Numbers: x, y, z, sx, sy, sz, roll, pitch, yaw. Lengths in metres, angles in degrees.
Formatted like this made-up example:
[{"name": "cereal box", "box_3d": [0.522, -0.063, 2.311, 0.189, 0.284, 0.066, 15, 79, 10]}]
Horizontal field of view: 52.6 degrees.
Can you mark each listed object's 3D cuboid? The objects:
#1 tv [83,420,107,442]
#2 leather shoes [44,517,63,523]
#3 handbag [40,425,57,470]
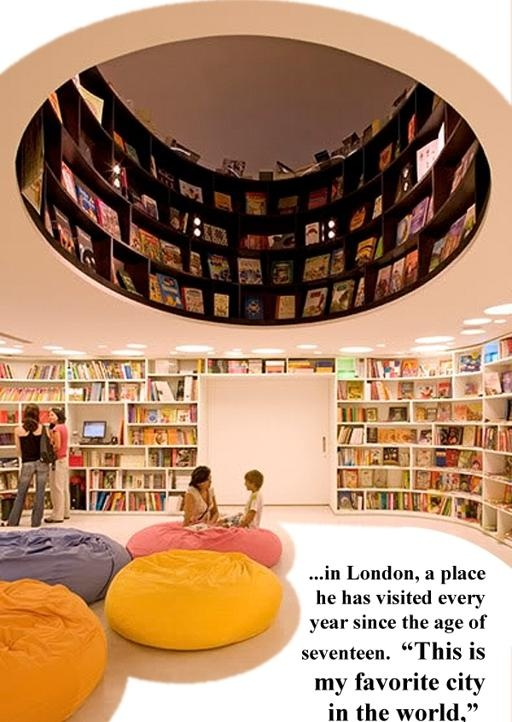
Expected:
[{"name": "tv", "box_3d": [-2.105, 0.924, 6.806, 0.232, 0.210, 0.095, -1, -33, 2]}, {"name": "leather shoes", "box_3d": [-2.310, 1.825, 5.944, 0.197, 0.079, 0.083, 8, -6, -10]}, {"name": "handbag", "box_3d": [-2.281, 0.954, 5.725, 0.149, 0.456, 0.399, 2, -6, -19]}]
